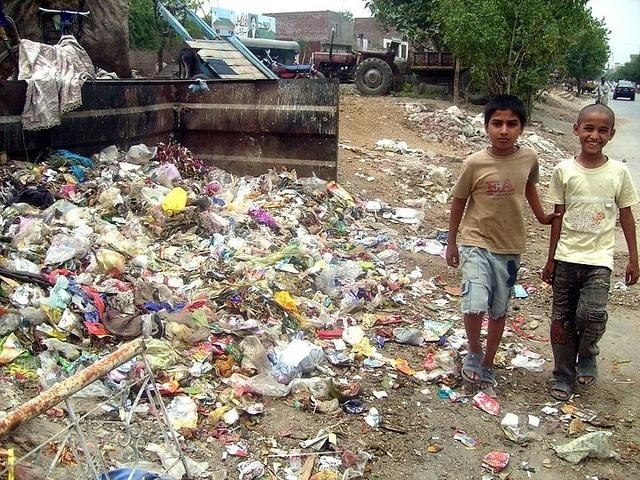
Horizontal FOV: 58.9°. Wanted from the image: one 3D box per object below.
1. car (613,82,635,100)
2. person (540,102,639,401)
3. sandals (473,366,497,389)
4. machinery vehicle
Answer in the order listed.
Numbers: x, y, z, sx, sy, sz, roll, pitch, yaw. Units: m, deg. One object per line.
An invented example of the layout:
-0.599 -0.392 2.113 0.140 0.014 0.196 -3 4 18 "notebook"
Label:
25.348 -12.366 47.380 1.227 0.999 2.972 5 25 21 "car"
1.790 0.090 3.790 0.480 1.926 0.467 -1 13 -16 "person"
1.112 0.939 3.851 0.111 0.067 0.202 1 18 11 "sandals"
2.319 -5.868 18.791 3.610 2.615 8.066 -1 13 -18 "machinery vehicle"
